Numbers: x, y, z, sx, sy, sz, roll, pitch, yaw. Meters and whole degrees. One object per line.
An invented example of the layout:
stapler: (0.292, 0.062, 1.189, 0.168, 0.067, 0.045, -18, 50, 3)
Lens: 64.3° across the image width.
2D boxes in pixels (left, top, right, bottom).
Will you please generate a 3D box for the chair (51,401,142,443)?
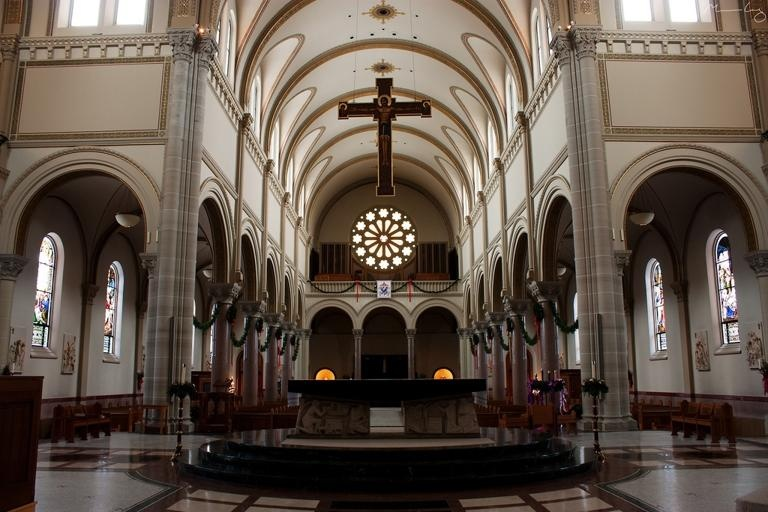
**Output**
chair: (-9.459, 5.503, 20.202, 2.351, 1.214, 4.612, 3, -16, -16)

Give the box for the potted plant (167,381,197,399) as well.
potted plant: (-5.280, 3.534, 15.955, 0.655, 0.479, 0.679, -1, -6, -2)

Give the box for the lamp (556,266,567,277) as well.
lamp: (8.988, 0.791, 30.776, 0.175, 0.684, 0.749, 21, 10, 7)

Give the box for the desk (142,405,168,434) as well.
desk: (-7.028, 5.077, 18.781, 0.777, 1.072, 0.858, -3, -16, 8)

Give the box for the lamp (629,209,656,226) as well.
lamp: (9.313, -1.425, 21.910, 0.740, 0.621, 1.152, -10, -17, 29)

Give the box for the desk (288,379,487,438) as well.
desk: (0.117, 3.808, 15.209, 4.494, 1.429, 0.881, -1, -15, -3)

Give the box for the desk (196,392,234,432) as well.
desk: (-5.853, 5.451, 21.483, 1.423, 1.408, 1.500, 0, -4, 5)

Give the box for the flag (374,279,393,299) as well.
flag: (0.025, 2.375, 41.309, 1.082, 1.297, 0.162, -1, -24, 5)
